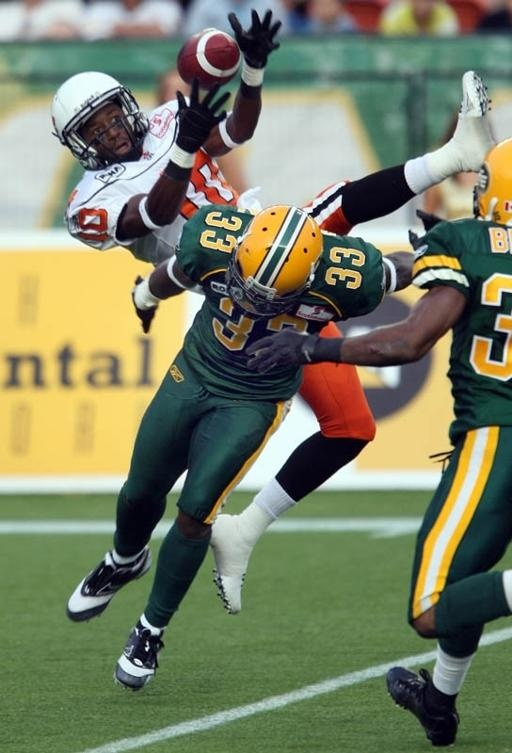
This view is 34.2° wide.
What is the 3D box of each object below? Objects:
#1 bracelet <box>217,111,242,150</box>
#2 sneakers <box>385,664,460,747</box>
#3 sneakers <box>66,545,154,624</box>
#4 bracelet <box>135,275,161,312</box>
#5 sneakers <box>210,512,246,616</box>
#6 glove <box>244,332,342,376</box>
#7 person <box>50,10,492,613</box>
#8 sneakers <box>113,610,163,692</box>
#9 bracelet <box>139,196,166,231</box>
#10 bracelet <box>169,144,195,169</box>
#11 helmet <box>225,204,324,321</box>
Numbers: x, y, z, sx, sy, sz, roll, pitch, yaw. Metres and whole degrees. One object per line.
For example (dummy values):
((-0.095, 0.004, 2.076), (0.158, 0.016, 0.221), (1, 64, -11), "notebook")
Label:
((-0.081, -0.772, 2.620), (0.086, 0.087, 0.081), (11, -7, -20), "bracelet")
((0.354, 0.709, 1.853), (0.085, 0.095, 0.225), (-16, 28, -10), "sneakers")
((-0.503, 0.736, 2.889), (0.120, 0.365, 0.193), (50, -11, 6), "sneakers")
((-0.342, -0.254, 2.574), (0.099, 0.066, 0.106), (-23, -8, 4), "bracelet")
((-0.135, 0.594, 2.651), (0.119, 0.291, 0.146), (-8, -6, -11), "sneakers")
((0.089, -0.057, 1.947), (0.311, 0.071, 0.088), (-7, -29, 33), "glove")
((-0.291, -0.432, 2.803), (0.711, 1.232, 1.982), (-28, 24, -17), "person")
((-0.305, 0.740, 2.245), (0.084, 0.092, 0.212), (32, 21, -9), "sneakers")
((-0.291, -0.446, 2.274), (0.077, 0.083, 0.047), (15, 8, -27), "bracelet")
((-0.203, -0.568, 2.192), (0.065, 0.060, 0.069), (16, 34, -19), "bracelet")
((0.054, -0.269, 2.102), (0.216, 0.283, 0.226), (41, -1, -5), "helmet")
